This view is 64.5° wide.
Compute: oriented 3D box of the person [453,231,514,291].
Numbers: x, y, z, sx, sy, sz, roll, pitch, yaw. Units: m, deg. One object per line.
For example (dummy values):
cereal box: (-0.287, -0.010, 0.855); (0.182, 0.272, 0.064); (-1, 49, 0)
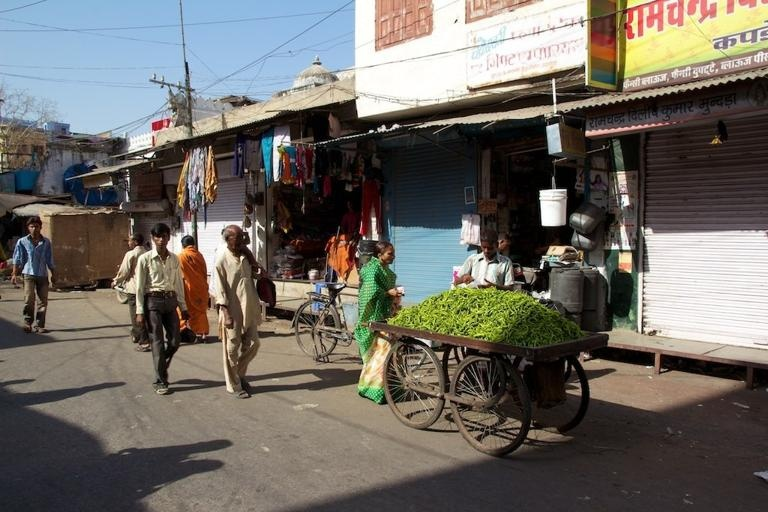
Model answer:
person: (1.543, 0.229, 9.116); (0.825, 1.170, 0.590); (5, 5, 20)

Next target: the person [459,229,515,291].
person: (1.526, 0.190, 9.070); (0.497, 1.172, 0.503); (0, 1, 23)

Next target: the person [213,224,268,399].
person: (-2.109, 0.770, 8.745); (0.569, 2.406, 0.730); (1, 14, 6)

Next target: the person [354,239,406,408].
person: (-0.107, 0.886, 8.628); (0.971, 2.090, 0.771); (1, 0, 3)

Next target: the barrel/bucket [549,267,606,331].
barrel/bucket: (3.361, 0.676, 10.295); (1.198, 1.350, 0.758); (3, 0, -20)

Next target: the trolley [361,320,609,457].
trolley: (1.089, 1.573, 7.750); (2.315, 1.077, 1.603); (3, 0, 45)

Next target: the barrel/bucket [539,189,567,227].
barrel/bucket: (2.739, -0.797, 10.385); (0.615, 0.604, 0.592); (-1, 3, 0)

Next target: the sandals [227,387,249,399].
sandals: (-2.052, 1.976, 8.713); (0.187, 0.060, 0.133); (10, 10, 27)

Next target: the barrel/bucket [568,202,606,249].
barrel/bucket: (3.544, -0.485, 10.619); (0.588, 0.863, 0.363); (5, 15, 19)

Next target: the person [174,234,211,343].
person: (-3.514, 0.615, 11.610); (0.856, 2.227, 0.840); (0, 1, -38)
